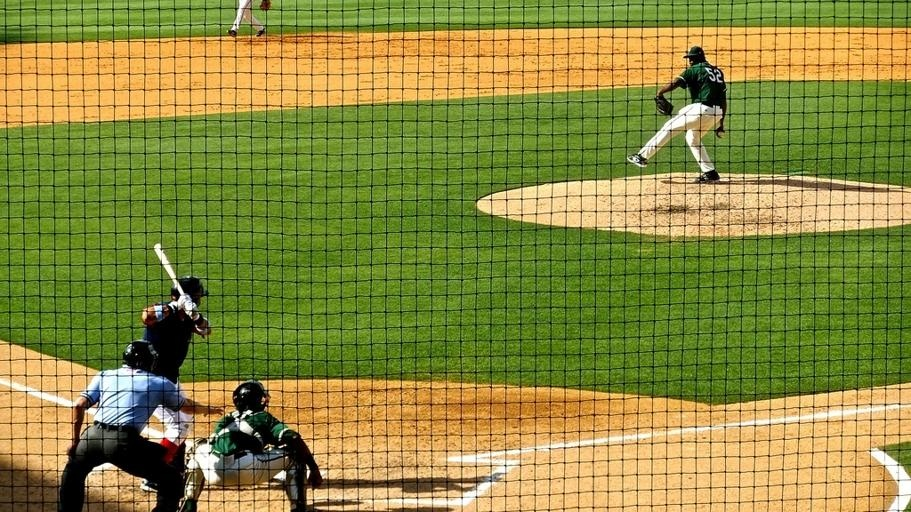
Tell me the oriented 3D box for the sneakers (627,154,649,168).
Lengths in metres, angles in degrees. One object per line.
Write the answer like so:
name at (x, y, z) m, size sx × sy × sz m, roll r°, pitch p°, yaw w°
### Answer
sneakers at (4.005, -2.110, 36.084) m, size 0.259 × 0.220 × 0.526 m, roll 34°, pitch 5°, yaw -27°

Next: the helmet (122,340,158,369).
helmet at (-5.383, 1.719, 28.273) m, size 0.507 × 0.448 × 0.603 m, roll 12°, pitch 13°, yaw 40°

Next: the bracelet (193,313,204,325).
bracelet at (-4.478, 1.135, 28.945) m, size 0.211 × 0.170 × 0.205 m, roll 1°, pitch 0°, yaw 11°

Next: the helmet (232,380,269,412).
helmet at (-3.473, 2.424, 28.115) m, size 0.592 × 0.519 × 0.530 m, roll 0°, pitch -2°, yaw 0°

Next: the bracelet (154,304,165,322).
bracelet at (-5.192, 1.011, 28.754) m, size 0.235 × 0.216 × 0.277 m, roll -3°, pitch 6°, yaw -14°

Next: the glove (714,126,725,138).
glove at (5.876, -2.690, 36.032) m, size 0.164 × 0.192 × 0.477 m, roll -1°, pitch -4°, yaw 11°

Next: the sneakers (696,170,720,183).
sneakers at (5.560, -1.730, 35.831) m, size 0.506 × 0.160 × 0.261 m, roll -2°, pitch 15°, yaw 2°
